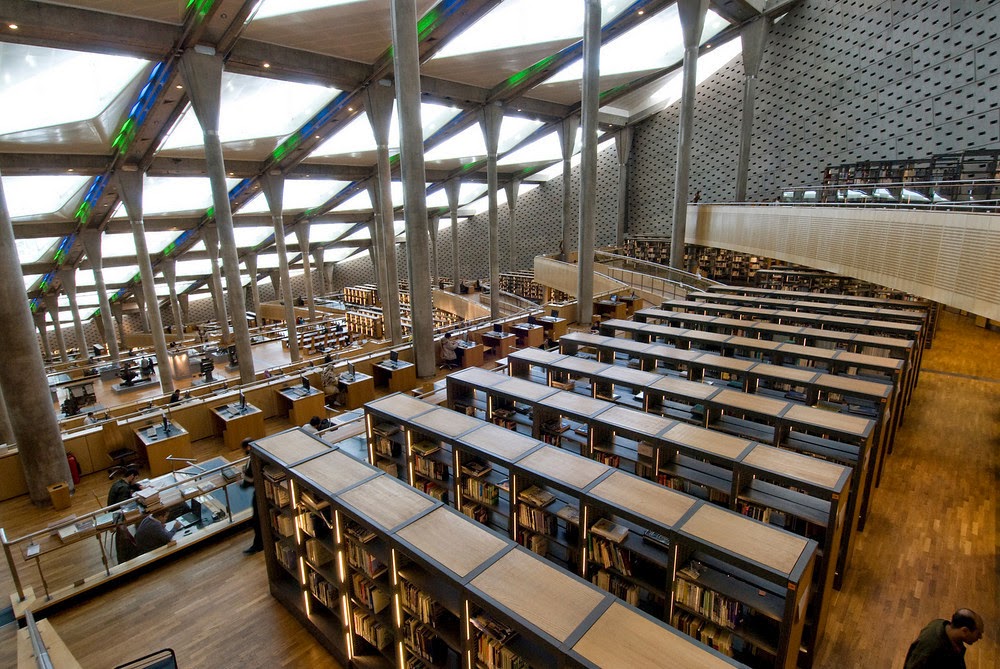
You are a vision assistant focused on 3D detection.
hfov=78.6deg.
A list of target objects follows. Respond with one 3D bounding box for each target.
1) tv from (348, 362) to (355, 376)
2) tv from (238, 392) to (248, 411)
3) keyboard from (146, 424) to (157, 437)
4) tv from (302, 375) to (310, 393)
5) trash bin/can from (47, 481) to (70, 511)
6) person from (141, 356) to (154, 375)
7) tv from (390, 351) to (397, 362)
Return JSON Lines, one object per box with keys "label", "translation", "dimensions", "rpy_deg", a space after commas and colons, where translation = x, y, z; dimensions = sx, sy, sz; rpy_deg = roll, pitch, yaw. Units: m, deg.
{"label": "tv", "translation": [-5.019, 1.162, 20.409], "dimensions": [0.267, 0.429, 0.265], "rpy_deg": [26, 38, 28]}
{"label": "tv", "translation": [-7.936, 2.068, 18.680], "dimensions": [0.057, 0.513, 0.410], "rpy_deg": [-18, 32, -41]}
{"label": "keyboard", "translation": [-10.266, 2.813, 17.846], "dimensions": [0.352, 0.054, 0.596], "rpy_deg": [-9, 29, -28]}
{"label": "tv", "translation": [-6.302, 1.624, 19.651], "dimensions": [0.455, 0.422, 0.062], "rpy_deg": [27, 36, 35]}
{"label": "trash bin/can", "translation": [-11.970, 4.379, 16.510], "dimensions": [0.451, 0.677, 0.355], "rpy_deg": [-19, 16, -40]}
{"label": "person", "translation": [-15.924, 1.477, 27.453], "dimensions": [0.454, 0.892, 1.204], "rpy_deg": [-15, 13, -26]}
{"label": "tv", "translation": [-3.704, 0.776, 21.085], "dimensions": [0.304, 0.268, 0.167], "rpy_deg": [19, 27, 41]}
